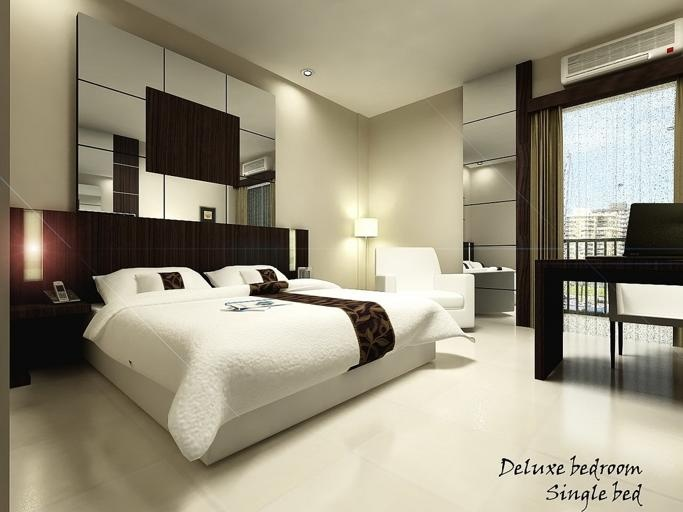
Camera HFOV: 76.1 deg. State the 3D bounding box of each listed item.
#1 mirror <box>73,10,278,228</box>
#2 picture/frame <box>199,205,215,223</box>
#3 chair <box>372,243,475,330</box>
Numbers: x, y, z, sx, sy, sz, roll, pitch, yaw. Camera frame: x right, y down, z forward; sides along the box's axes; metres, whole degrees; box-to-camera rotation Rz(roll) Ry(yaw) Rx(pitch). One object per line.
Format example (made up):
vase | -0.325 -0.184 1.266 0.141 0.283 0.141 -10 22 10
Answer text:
mirror | -1.354 -1.118 3.458 0.030 1.400 1.692 -6 -8 38
picture/frame | -1.098 -0.336 3.560 0.012 0.187 0.149 -14 -18 38
chair | 0.732 0.325 4.231 1.085 0.965 1.139 -3 -5 26
